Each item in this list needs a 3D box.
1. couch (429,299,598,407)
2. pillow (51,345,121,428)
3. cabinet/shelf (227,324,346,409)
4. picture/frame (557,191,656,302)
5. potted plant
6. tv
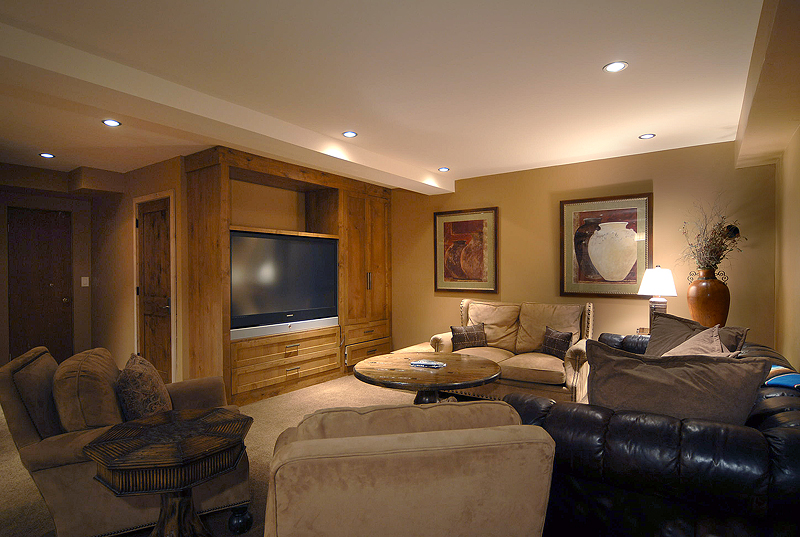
[{"bbox_3d":[1.332,0.818,5.786,1.752,1.020,1.012,-5,-11,35],"label":"couch"},{"bbox_3d":[-1.985,0.756,3.410,0.184,0.437,0.455,-29,-14,24],"label":"pillow"},{"bbox_3d":[-1.354,1.052,6.113,0.398,0.691,1.505,10,9,41],"label":"cabinet/shelf"},{"bbox_3d":[2.333,-0.244,5.949,1.357,1.538,0.059,0,-1,29],"label":"picture/frame"},{"bbox_3d":[3.005,0.089,5.219,0.543,0.988,0.539,-2,0,33],"label":"potted plant"},{"bbox_3d":[-1.324,0.206,5.929,0.142,0.941,1.384,-5,-5,43],"label":"tv"}]
